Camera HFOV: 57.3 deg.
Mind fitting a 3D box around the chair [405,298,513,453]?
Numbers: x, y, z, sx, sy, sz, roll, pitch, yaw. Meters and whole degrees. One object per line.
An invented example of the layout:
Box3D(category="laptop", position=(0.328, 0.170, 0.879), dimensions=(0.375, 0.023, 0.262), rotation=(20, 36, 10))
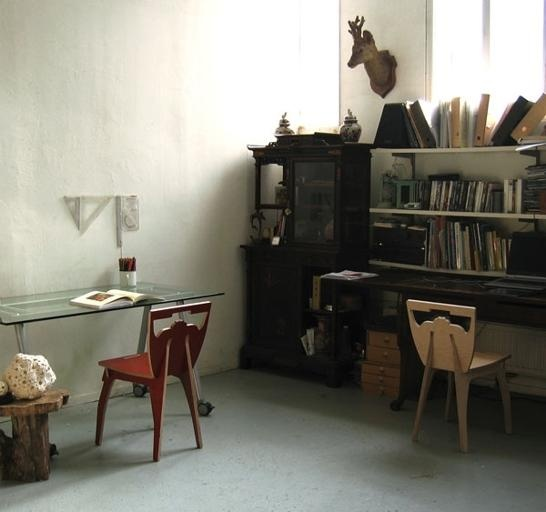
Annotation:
Box3D(category="chair", position=(1.027, 0.615, 2.729), dimensions=(0.388, 0.811, 0.370), rotation=(-7, 6, -38))

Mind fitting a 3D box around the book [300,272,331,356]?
Box3D(category="book", position=(0.327, 0.407, 3.851), dimensions=(0.113, 0.676, 0.209), rotation=(-3, 7, -34))

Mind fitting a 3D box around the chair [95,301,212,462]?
Box3D(category="chair", position=(-0.644, 0.623, 2.663), dimensions=(0.419, 0.833, 0.414), rotation=(7, 7, 37))

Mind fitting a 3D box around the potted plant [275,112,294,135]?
Box3D(category="potted plant", position=(0.090, -1.090, 4.104), dimensions=(0.144, 0.249, 0.296), rotation=(-1, 2, -6))

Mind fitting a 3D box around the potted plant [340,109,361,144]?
Box3D(category="potted plant", position=(0.599, -0.979, 3.882), dimensions=(0.153, 0.225, 0.127), rotation=(0, 2, 8))
